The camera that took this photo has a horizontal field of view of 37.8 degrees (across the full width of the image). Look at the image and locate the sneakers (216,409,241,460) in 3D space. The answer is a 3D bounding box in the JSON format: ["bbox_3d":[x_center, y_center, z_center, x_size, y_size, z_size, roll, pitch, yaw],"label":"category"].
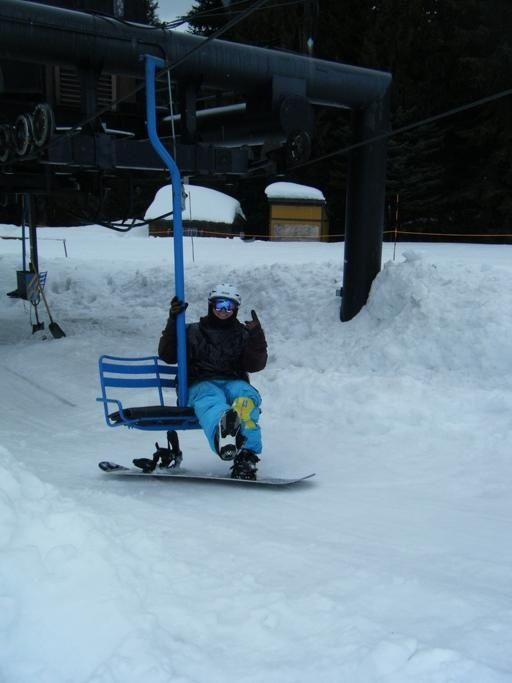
[{"bbox_3d":[-0.194,0.638,5.180,0.157,0.354,0.153,7,-2,-12],"label":"sneakers"}]

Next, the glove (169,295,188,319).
[{"bbox_3d":[-0.557,-0.249,5.429,0.125,0.150,0.192,1,4,-6],"label":"glove"}]

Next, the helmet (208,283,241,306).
[{"bbox_3d":[-0.237,-0.390,5.745,0.182,0.199,0.201,6,-14,-3],"label":"helmet"}]

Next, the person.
[{"bbox_3d":[-0.318,0.238,5.565,0.952,1.064,1.804,3,9,-11],"label":"person"}]

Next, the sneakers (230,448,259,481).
[{"bbox_3d":[-0.081,0.893,5.435,0.190,0.205,0.195,1,4,-2],"label":"sneakers"}]
